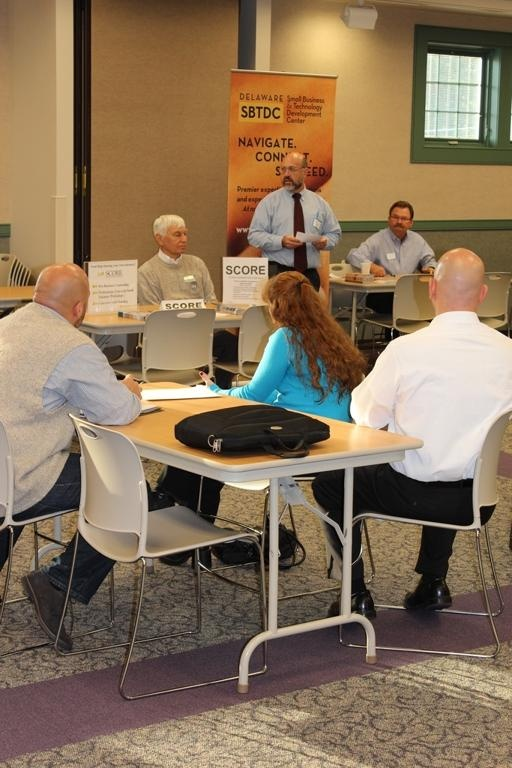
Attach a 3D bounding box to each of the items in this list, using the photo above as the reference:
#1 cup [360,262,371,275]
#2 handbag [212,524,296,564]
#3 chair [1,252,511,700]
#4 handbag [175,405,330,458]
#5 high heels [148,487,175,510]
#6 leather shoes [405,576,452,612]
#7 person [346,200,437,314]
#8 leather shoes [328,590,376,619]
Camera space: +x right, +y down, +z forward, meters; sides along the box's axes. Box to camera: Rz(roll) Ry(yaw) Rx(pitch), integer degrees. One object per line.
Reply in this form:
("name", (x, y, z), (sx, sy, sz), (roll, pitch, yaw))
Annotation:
("cup", (1.036, -1.094, 6.442), (0.113, 0.153, 0.164), (-1, 3, -1))
("handbag", (-0.009, 0.692, 2.810), (0.321, 0.109, 0.232), (-2, 1, -10))
("chair", (-0.096, 0.397, 1.900), (0.987, 0.804, 0.817), (1, 1, 30))
("handbag", (0.008, 0.116, 1.681), (0.336, 0.106, 0.320), (0, 1, -42))
("high heels", (-0.342, 0.414, 2.392), (0.094, 0.051, 0.144), (-2, 4, -27))
("leather shoes", (0.581, 0.737, 2.396), (0.086, 0.110, 0.231), (0, -3, -13))
("person", (1.471, -1.288, 6.955), (0.936, 1.105, 0.698), (-6, 16, -30))
("leather shoes", (0.285, 0.701, 2.183), (0.194, 0.079, 0.075), (4, -9, -31))
